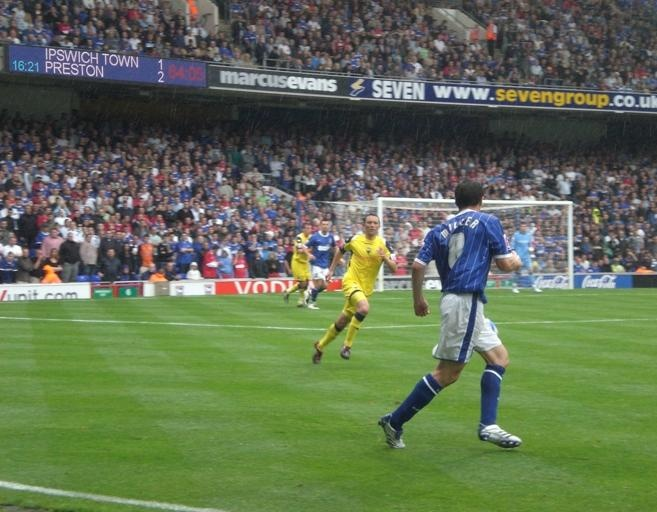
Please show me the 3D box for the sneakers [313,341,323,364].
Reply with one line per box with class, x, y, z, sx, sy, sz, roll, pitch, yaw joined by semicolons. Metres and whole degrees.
sneakers;-0.211;1.779;21.669;0.166;0.376;0.298;1;2;-2
